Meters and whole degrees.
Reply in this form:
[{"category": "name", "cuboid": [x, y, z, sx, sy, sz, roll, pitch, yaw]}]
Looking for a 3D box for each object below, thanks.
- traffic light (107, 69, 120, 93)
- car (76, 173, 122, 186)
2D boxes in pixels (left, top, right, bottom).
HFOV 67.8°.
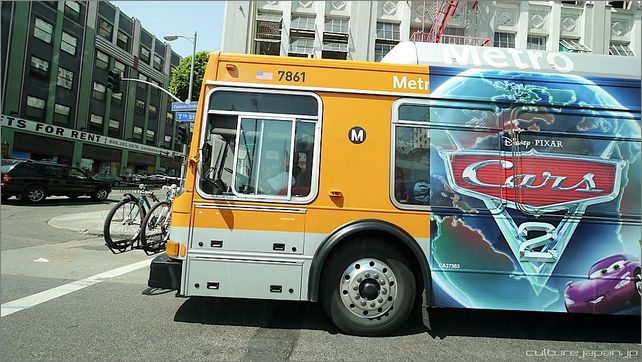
[{"category": "traffic light", "cuboid": [-10.506, -5.139, 24.153, 0.529, 1.164, 0.589, 2, 0, -25]}, {"category": "car", "cuboid": [-14.443, -0.126, 31.038, 0.971, 0.653, 2.110, -3, -7, 41]}]
